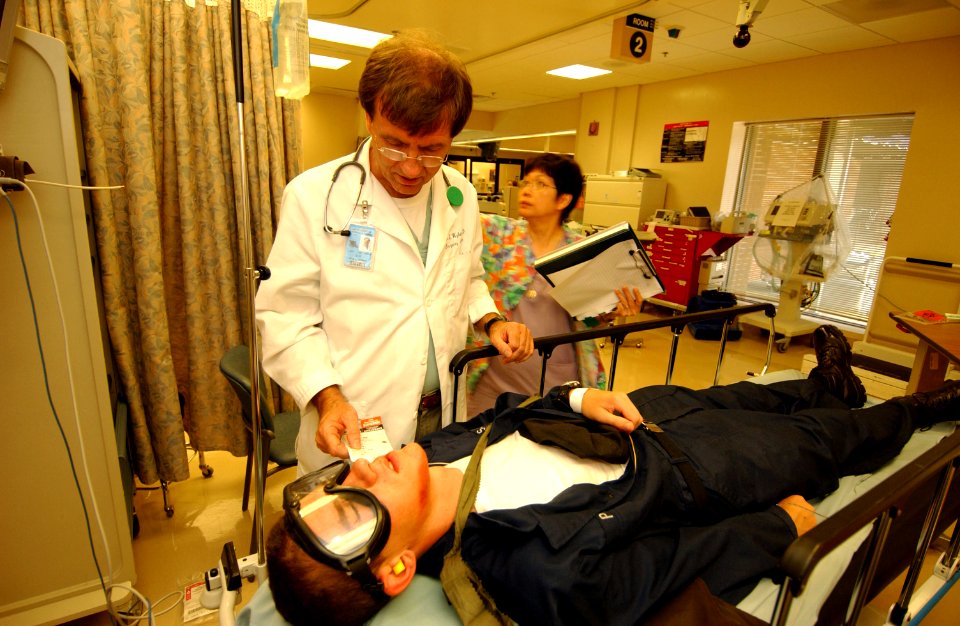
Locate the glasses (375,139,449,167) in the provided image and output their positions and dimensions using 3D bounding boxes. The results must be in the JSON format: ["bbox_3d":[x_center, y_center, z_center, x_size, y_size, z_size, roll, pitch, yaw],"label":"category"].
[{"bbox_3d":[-0.260,-0.592,2.323,0.263,0.093,0.118,-1,13,-9],"label":"glasses"}]

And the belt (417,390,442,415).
[{"bbox_3d":[-0.205,0.379,2.570,0.081,0.036,0.103,-6,-11,-42],"label":"belt"}]

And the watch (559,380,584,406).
[{"bbox_3d":[0.411,0.347,2.722,0.118,0.105,0.079,-6,4,45],"label":"watch"}]

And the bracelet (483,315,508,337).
[{"bbox_3d":[0.074,0.060,2.787,0.072,0.091,0.094,21,-7,-27],"label":"bracelet"}]

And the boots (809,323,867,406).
[{"bbox_3d":[2.056,0.310,3.551,0.150,0.408,0.202,-32,-37,26],"label":"boots"}]
